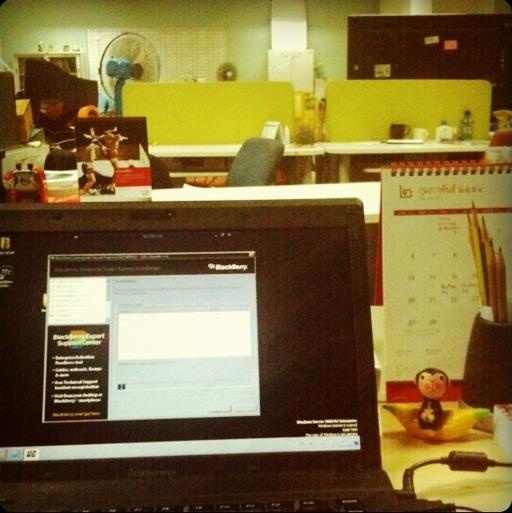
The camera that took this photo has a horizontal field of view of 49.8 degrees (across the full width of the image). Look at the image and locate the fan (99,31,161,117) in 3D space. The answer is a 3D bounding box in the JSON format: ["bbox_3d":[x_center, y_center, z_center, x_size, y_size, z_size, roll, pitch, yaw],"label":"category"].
[{"bbox_3d":[-1.358,-1.830,5.839,0.538,0.960,0.509,4,21,-4],"label":"fan"}]

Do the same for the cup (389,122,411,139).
[{"bbox_3d":[1.064,-0.926,4.107,0.158,0.166,0.104,-3,7,-24],"label":"cup"}]

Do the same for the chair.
[{"bbox_3d":[0.005,-0.441,2.669,0.165,0.242,0.441,-8,18,-25],"label":"chair"}]

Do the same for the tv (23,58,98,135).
[{"bbox_3d":[-1.053,-0.900,3.040,0.411,0.352,0.591,-8,18,-22],"label":"tv"}]

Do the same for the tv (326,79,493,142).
[{"bbox_3d":[1.136,-1.085,4.115,1.244,0.442,0.101,-2,15,-3],"label":"tv"}]

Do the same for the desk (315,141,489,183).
[{"bbox_3d":[0.970,-0.649,3.819,1.080,0.276,0.540,-2,17,-2],"label":"desk"}]

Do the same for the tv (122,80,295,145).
[{"bbox_3d":[-0.359,-1.075,4.172,1.282,0.455,0.075,-1,15,1],"label":"tv"}]

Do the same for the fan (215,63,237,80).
[{"bbox_3d":[-0.373,-2.533,7.592,0.323,0.214,0.160,-12,19,-33],"label":"fan"}]
